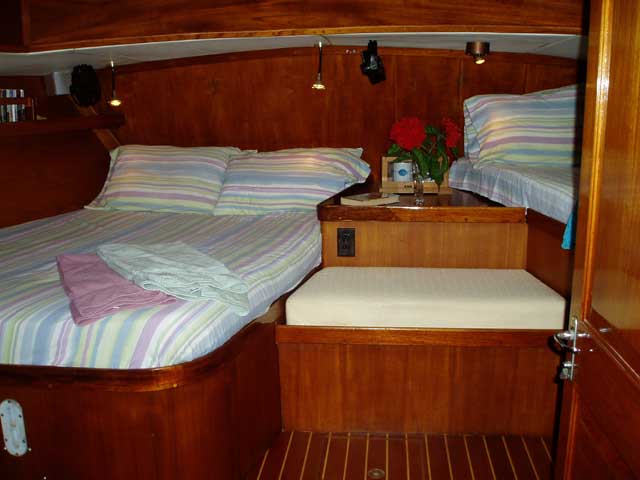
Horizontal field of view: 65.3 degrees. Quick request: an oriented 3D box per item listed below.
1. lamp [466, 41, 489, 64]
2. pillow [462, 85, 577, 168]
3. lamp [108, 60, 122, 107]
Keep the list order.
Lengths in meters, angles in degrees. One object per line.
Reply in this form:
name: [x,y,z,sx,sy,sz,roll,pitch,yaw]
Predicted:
lamp: [0.974,-1.165,3.130,0.120,0.118,0.118,12,25,32]
pillow: [1.175,-0.670,2.955,0.613,0.537,0.179,1,-9,12]
lamp: [-1.502,-1.130,3.633,0.091,0.303,0.333,-7,14,-20]
